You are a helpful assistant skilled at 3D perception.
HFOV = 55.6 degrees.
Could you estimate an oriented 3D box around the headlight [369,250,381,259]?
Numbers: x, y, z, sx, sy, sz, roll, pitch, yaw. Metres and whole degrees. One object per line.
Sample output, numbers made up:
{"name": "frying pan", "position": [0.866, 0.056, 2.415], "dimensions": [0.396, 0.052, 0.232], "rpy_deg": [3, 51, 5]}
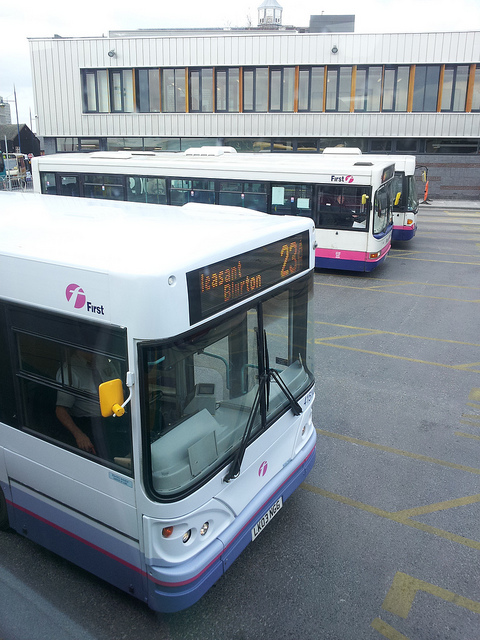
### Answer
{"name": "headlight", "position": [4.159, -1.983, 14.003], "dimensions": [0.550, 0.247, 0.146], "rpy_deg": [-9, 15, -43]}

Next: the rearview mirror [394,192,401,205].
{"name": "rearview mirror", "position": [5.632, -4.317, 16.317], "dimensions": [0.092, 0.394, 0.385], "rpy_deg": [7, 7, 10]}

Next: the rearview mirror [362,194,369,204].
{"name": "rearview mirror", "position": [3.616, -3.490, 13.279], "dimensions": [0.272, 0.201, 0.355], "rpy_deg": [4, 28, 19]}

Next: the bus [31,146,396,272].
{"name": "bus", "position": [-2.358, -4.370, 17.752], "dimensions": [16.650, 5.401, 5.209], "rpy_deg": [9, 24, 21]}

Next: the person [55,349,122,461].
{"name": "person", "position": [-0.977, 0.510, 2.871], "dimensions": [0.222, 0.752, 0.801], "rpy_deg": [-7, 14, -38]}

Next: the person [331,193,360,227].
{"name": "person", "position": [3.155, -3.320, 13.876], "dimensions": [0.804, 0.542, 0.802], "rpy_deg": [-21, 27, -40]}

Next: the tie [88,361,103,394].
{"name": "tie", "position": [-0.882, 0.333, 2.786], "dimensions": [0.065, 0.232, 0.017], "rpy_deg": [-13, 16, 18]}
